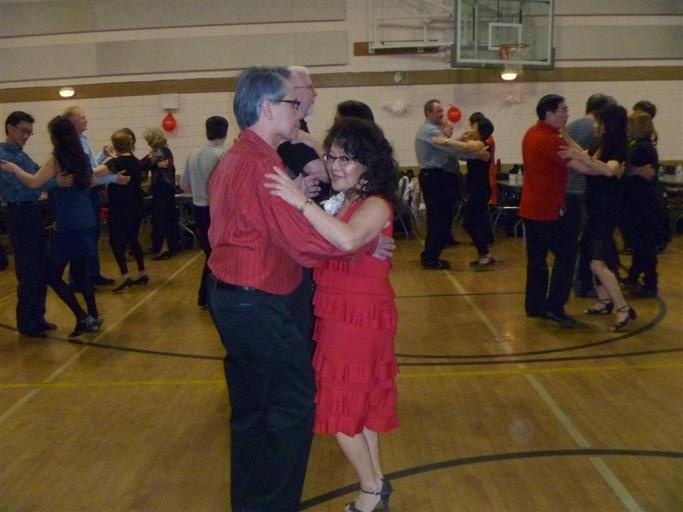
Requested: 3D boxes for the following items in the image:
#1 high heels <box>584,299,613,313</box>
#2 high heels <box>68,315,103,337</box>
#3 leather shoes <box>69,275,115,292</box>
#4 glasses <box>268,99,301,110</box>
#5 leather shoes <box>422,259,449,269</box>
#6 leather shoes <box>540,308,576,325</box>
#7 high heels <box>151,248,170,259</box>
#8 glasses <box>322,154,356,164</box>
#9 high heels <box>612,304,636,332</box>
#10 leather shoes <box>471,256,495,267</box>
[{"bbox_3d":[2.227,0.432,5.176,0.253,0.106,0.100,1,2,2],"label":"high heels"},{"bbox_3d":[-2.120,0.576,5.021,0.113,0.143,0.312,-23,-7,36],"label":"high heels"},{"bbox_3d":[-2.463,0.270,5.862,0.300,0.205,0.105,-14,18,-15],"label":"leather shoes"},{"bbox_3d":[-0.223,-0.617,2.414,0.132,0.051,0.039,-11,17,-34],"label":"glasses"},{"bbox_3d":[1.114,0.092,7.023,0.284,0.118,0.123,-2,3,-2],"label":"leather shoes"},{"bbox_3d":[1.771,0.501,4.902,0.257,0.110,0.103,18,-11,15],"label":"leather shoes"},{"bbox_3d":[-2.482,-0.031,8.178,0.143,0.112,0.337,12,0,-34],"label":"high heels"},{"bbox_3d":[-0.015,-0.427,2.584,0.139,0.037,0.034,7,17,34],"label":"glasses"},{"bbox_3d":[2.250,0.498,4.765,0.266,0.139,0.088,-27,-3,-30],"label":"high heels"},{"bbox_3d":[1.661,0.061,7.045,0.300,0.143,0.120,-2,-2,-5],"label":"leather shoes"}]
